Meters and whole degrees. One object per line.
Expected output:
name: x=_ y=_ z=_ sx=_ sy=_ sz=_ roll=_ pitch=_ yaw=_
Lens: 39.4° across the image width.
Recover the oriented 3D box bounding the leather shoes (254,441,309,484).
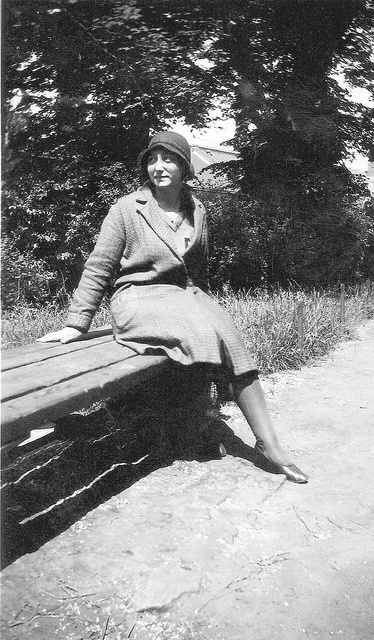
leather shoes: x=0.309 y=0.492 z=1.920 sx=0.272 sy=0.076 sz=0.088 roll=24 pitch=4 yaw=16
